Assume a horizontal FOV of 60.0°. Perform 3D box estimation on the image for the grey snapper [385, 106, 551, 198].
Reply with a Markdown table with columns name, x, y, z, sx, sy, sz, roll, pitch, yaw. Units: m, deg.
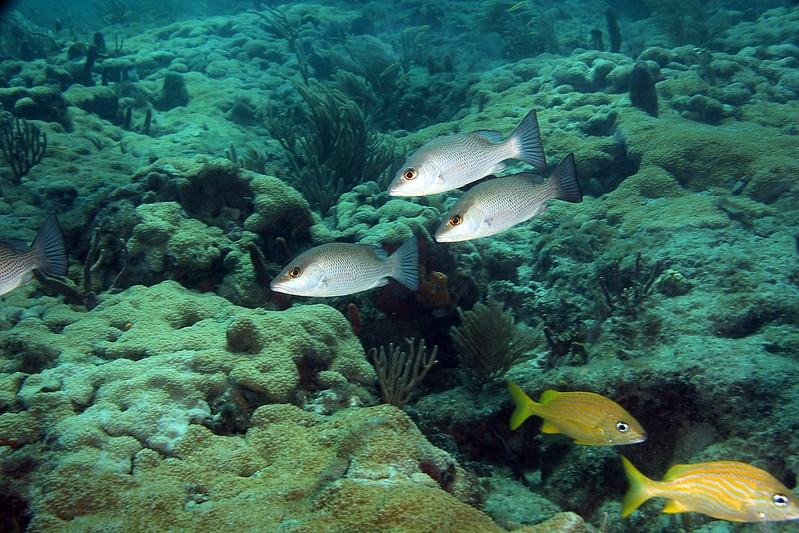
| name | x | y | z | sx | sy | sz | roll | pitch | yaw |
| --- | --- | --- | --- | --- | --- | --- | --- | --- | --- |
| grey snapper | 0.951 | -1.505 | 9.565 | 2.361 | 0.803 | 0.702 | -16 | 12 | -20 |

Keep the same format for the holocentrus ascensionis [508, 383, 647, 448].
| name | x | y | z | sx | sy | sz | roll | pitch | yaw |
| --- | --- | --- | --- | --- | --- | --- | --- | --- | --- |
| holocentrus ascensionis | 2.438 | 2.107 | 9.554 | 1.852 | 0.722 | 0.422 | 3 | 5 | 30 |

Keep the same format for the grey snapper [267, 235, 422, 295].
| name | x | y | z | sx | sy | sz | roll | pitch | yaw |
| --- | --- | --- | --- | --- | --- | --- | --- | --- | --- |
| grey snapper | -0.708 | 0.017 | 9.519 | 2.079 | 0.766 | 0.406 | -4 | 10 | -27 |

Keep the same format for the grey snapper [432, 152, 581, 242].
| name | x | y | z | sx | sy | sz | roll | pitch | yaw |
| --- | --- | --- | --- | --- | --- | --- | --- | --- | --- |
| grey snapper | 1.442 | -0.935 | 9.422 | 2.064 | 0.875 | 0.409 | -11 | 28 | -11 |
